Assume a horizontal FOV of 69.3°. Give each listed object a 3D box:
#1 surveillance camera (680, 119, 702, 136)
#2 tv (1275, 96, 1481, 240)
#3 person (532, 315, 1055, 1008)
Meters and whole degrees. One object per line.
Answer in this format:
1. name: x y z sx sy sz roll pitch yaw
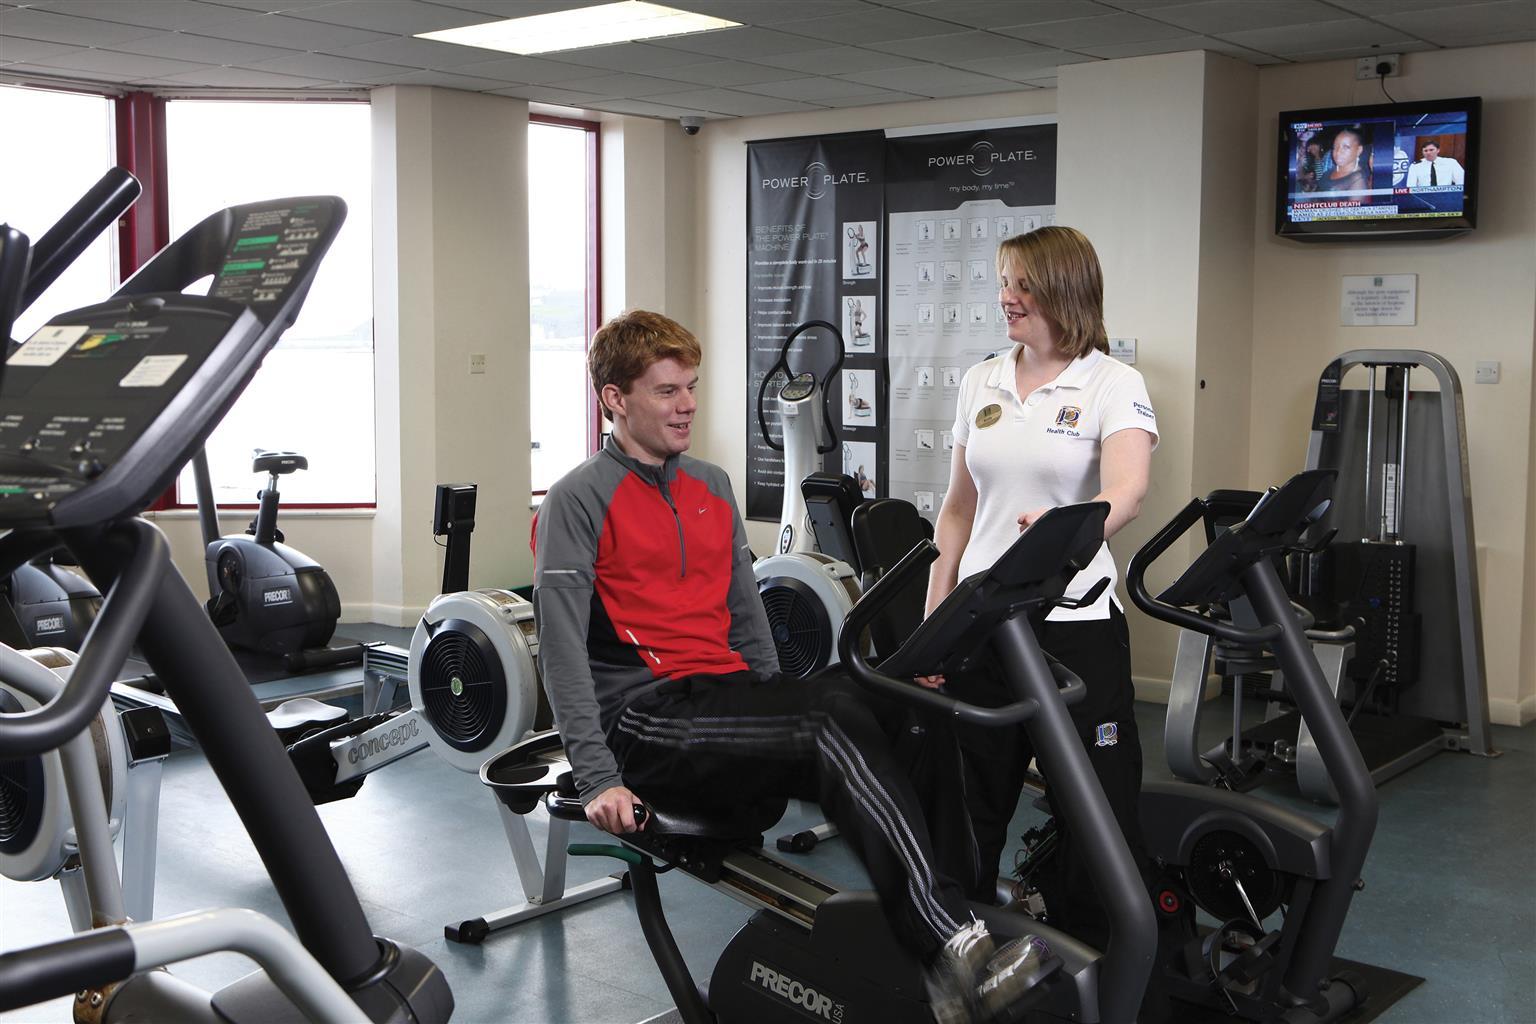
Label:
1. surveillance camera: -0.569 -2.903 8.451 0.139 0.084 0.211 -2 8 -6
2. tv: 3.268 -1.808 5.879 0.804 0.580 0.110 2 3 27
3. person: -0.072 0.278 2.531 0.751 1.472 1.102 -6 10 -26
